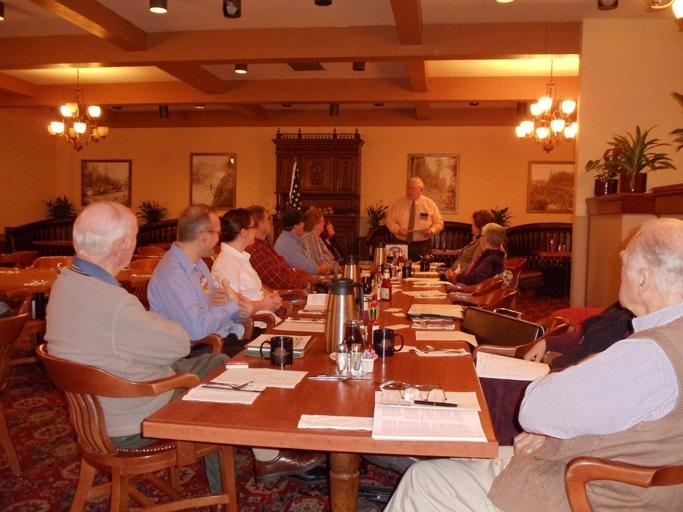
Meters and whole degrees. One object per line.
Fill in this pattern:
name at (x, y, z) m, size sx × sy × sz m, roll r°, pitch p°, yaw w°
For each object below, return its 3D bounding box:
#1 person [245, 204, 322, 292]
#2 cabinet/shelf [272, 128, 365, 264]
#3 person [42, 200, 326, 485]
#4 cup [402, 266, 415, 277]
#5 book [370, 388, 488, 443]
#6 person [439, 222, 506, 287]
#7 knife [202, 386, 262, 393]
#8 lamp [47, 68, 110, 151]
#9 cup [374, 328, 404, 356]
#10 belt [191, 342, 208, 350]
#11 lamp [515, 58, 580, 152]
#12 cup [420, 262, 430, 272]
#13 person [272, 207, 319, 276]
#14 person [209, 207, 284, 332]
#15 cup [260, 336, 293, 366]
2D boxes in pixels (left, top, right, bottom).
person at (-0.487, -0.091, 4.649) m, size 0.658 × 0.745 × 0.720 m, roll -1°, pitch 5°, yaw -14°
cabinet/shelf at (-0.484, -0.987, 10.992) m, size 1.920 × 2.868 × 0.797 m, roll -1°, pitch -2°, yaw -3°
person at (-0.767, 0.451, 2.377) m, size 0.454 × 1.357 × 0.928 m, roll 5°, pitch 5°, yaw 44°
cup at (0.651, 0.162, 5.414) m, size 0.143 × 0.133 × 0.085 m, roll 4°, pitch 4°, yaw 34°
book at (0.307, 0.541, 1.983) m, size 0.376 × 0.079 × 0.390 m, roll -2°, pitch -4°, yaw -6°
person at (1.324, 0.068, 5.293) m, size 0.574 × 0.737 × 0.505 m, roll 0°, pitch 3°, yaw 9°
knife at (-0.401, 0.482, 1.956) m, size 0.232 × 0.011 × 0.044 m, roll 2°, pitch 3°, yaw 8°
lamp at (-4.383, -2.434, 8.902) m, size 0.964 × 1.298 × 0.971 m, roll 0°, pitch 6°, yaw -17°
cup at (0.224, 0.393, 2.418) m, size 0.155 × 0.102 × 0.091 m, roll 3°, pitch -2°, yaw -14°
belt at (-0.845, 0.535, 3.174) m, size 0.066 × 0.027 × 0.093 m, roll 2°, pitch 0°, yaw 17°
lamp at (3.206, -2.339, 8.153) m, size 0.954 × 1.423 × 1.005 m, roll -6°, pitch 12°, yaw -22°
cup at (0.977, 0.111, 6.225) m, size 0.097 × 0.178 × 0.190 m, roll 1°, pitch 1°, yaw 13°
person at (-0.470, -0.160, 5.731) m, size 0.455 × 0.651 × 0.761 m, roll -1°, pitch 9°, yaw -16°
person at (-0.698, 0.135, 3.906) m, size 0.604 × 1.008 × 0.571 m, roll 7°, pitch 40°, yaw -3°
cup at (-0.260, 0.403, 2.281) m, size 0.156 × 0.108 × 0.090 m, roll -1°, pitch 1°, yaw 3°
